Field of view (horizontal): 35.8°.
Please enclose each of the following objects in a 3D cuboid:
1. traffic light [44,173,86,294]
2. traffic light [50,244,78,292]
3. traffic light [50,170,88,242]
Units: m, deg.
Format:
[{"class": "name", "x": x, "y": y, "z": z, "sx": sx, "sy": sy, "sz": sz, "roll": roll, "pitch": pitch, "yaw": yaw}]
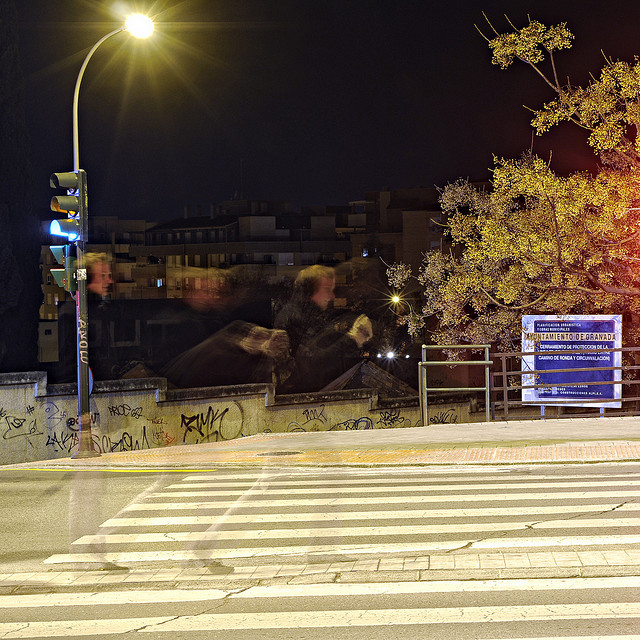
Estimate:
[{"class": "traffic light", "x": -5.231, "y": -1.784, "z": 20.505, "sx": 0.748, "sy": 2.579, "sz": 0.589, "roll": 1, "pitch": 5, "yaw": -17}, {"class": "traffic light", "x": -5.286, "y": -1.089, "z": 20.481, "sx": 0.535, "sy": 1.027, "sz": 1.045, "roll": -5, "pitch": 0, "yaw": -14}, {"class": "traffic light", "x": -5.157, "y": -2.352, "z": 20.193, "sx": 0.876, "sy": 1.495, "sz": 0.701, "roll": -5, "pitch": 1, "yaw": -29}]
